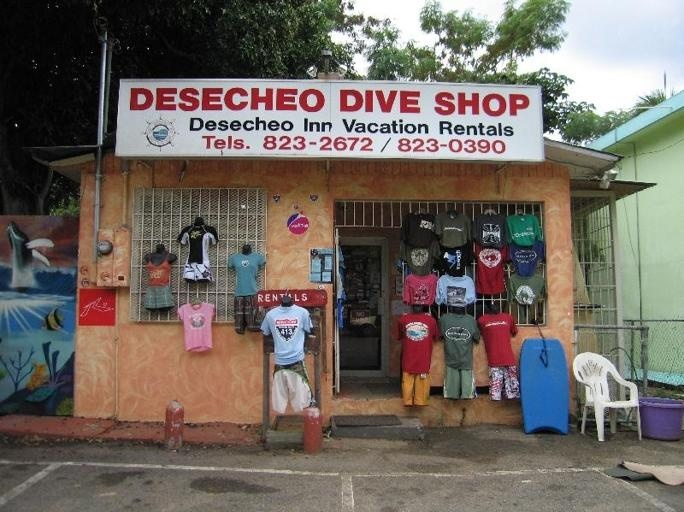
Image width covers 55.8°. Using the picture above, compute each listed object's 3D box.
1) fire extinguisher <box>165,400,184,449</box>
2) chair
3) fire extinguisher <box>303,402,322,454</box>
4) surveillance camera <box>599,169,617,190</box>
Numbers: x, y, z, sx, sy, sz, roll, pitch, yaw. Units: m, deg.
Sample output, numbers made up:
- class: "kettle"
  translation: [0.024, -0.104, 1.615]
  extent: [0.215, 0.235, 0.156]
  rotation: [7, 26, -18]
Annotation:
- class: "fire extinguisher"
  translation: [-2.499, 2.456, 9.577]
  extent: [0.270, 0.720, 0.352]
  rotation: [-2, 8, -18]
- class: "chair"
  translation: [4.312, 2.209, 10.412]
  extent: [1.065, 1.233, 0.991]
  rotation: [-2, 8, -19]
- class: "fire extinguisher"
  translation: [-0.417, 2.535, 9.439]
  extent: [0.254, 0.674, 0.268]
  rotation: [-7, -5, 29]
- class: "surveillance camera"
  translation: [4.587, -1.343, 11.157]
  extent: [0.259, 0.316, 0.668]
  rotation: [4, 9, 22]
